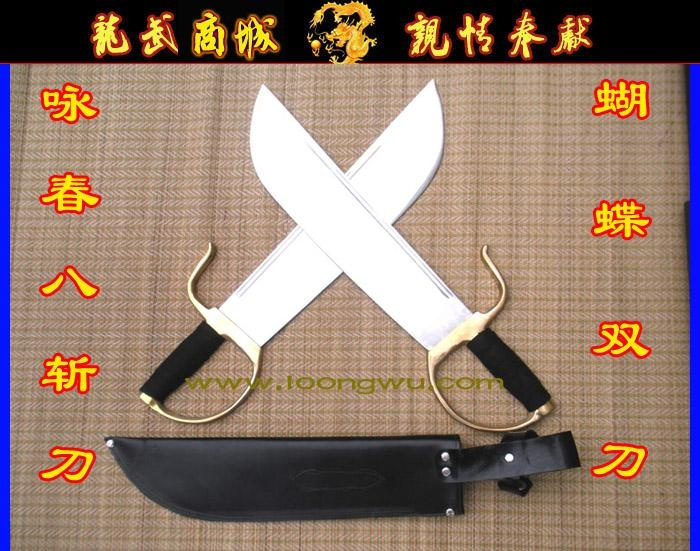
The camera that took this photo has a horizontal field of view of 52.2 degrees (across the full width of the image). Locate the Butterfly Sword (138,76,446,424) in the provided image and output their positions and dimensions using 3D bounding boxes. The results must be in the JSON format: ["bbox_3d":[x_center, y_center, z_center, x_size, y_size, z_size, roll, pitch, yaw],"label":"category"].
[{"bbox_3d":[-0.085,-0.043,1.727,1.237,0.080,0.335,-36,85,-2],"label":"Butterfly Sword"}]

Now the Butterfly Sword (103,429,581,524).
[{"bbox_3d":[-0.015,0.454,1.637,1.085,0.085,0.154,0,62,-4],"label":"Butterfly Sword"}]
